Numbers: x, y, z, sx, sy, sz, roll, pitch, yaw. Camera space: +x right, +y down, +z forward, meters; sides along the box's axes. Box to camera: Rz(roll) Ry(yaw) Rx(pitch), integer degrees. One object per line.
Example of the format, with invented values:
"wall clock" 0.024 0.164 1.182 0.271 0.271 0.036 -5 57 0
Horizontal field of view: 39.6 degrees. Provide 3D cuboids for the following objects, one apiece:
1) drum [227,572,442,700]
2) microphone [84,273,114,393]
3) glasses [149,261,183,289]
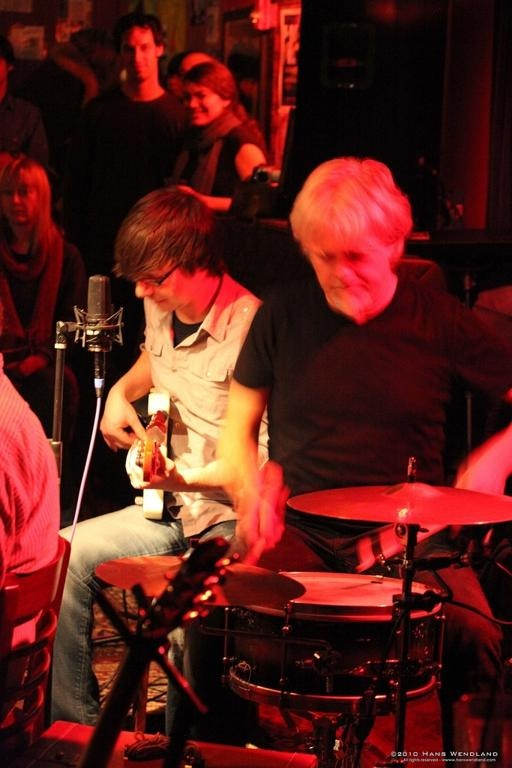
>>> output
"drum" 0.178 0.578 1.667 0.489 0.225 0.497 2 -5 0
"microphone" -0.467 -0.166 2.092 0.077 0.300 0.121 -1 11 -14
"glasses" -0.291 -0.352 2.289 0.023 0.073 0.072 20 9 -25
